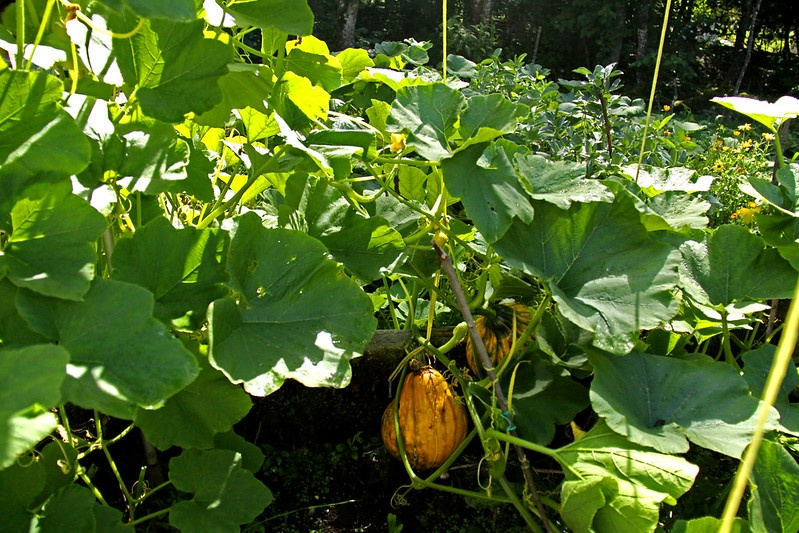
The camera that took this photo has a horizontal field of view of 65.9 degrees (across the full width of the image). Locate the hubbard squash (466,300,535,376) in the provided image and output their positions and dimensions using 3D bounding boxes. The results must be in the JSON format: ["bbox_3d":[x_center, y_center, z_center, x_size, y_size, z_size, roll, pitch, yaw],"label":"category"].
[{"bbox_3d":[0.324,0.231,1.936,0.218,0.226,0.226,-4,-4,16],"label":"hubbard squash"}]

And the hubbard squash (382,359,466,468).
[{"bbox_3d":[0.069,0.425,1.813,0.257,0.351,0.279,-6,24,-2],"label":"hubbard squash"}]
